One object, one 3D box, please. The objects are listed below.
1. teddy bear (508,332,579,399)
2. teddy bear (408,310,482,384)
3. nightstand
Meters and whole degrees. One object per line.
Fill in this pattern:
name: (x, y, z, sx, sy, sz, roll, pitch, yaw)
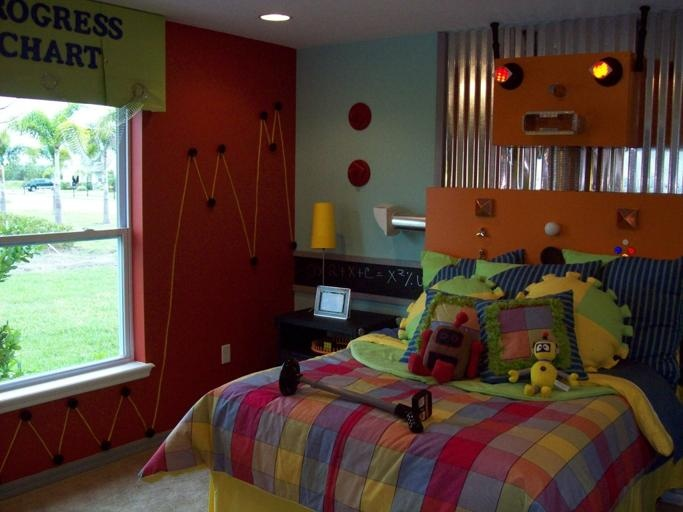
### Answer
teddy bear: (0.986, 0.553, 2.628, 0.380, 0.392, 0.221, -4, -13, 28)
teddy bear: (0.561, 0.472, 2.778, 0.340, 0.415, 0.308, 11, -9, 26)
nightstand: (-0.073, 0.579, 4.208, 0.641, 0.662, 0.502, 2, 2, 40)
